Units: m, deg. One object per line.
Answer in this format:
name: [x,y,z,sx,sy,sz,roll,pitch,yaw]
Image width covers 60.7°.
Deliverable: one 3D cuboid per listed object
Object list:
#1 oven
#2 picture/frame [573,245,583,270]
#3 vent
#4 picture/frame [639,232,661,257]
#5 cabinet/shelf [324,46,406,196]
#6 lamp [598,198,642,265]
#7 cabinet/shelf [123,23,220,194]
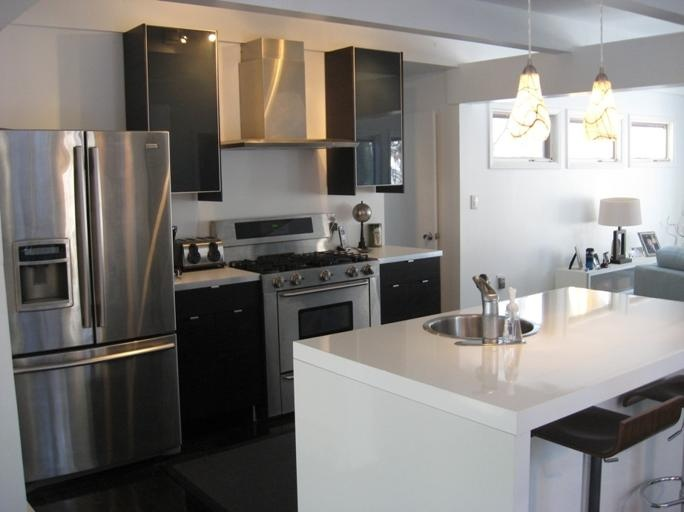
oven: [-0.268,0.557,4.739,1.041,1.053,0.674,-9,11,-32]
picture/frame: [2.996,0.016,7.400,0.158,0.312,0.262,-4,4,23]
vent: [-0.401,-1.151,4.998,1.372,1.015,0.786,-5,6,-37]
picture/frame: [4.194,-0.163,7.957,0.317,0.463,0.045,6,-23,-33]
cabinet/shelf: [0.216,-1.142,5.219,0.676,1.272,0.375,-9,11,-42]
lamp: [3.540,-0.310,7.406,0.508,0.811,0.520,-1,6,13]
cabinet/shelf: [-1.119,-1.029,4.309,0.530,1.062,0.370,3,28,12]
